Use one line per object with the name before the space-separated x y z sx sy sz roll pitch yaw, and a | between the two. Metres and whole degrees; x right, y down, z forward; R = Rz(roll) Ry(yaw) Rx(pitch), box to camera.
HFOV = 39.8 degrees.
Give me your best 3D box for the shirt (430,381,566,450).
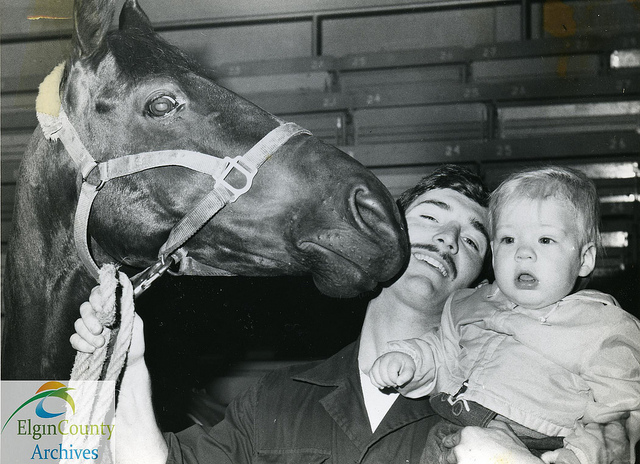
shirt | 0.475 0.491 2.384 0.347 0.179 0.080 -2 -3 8
